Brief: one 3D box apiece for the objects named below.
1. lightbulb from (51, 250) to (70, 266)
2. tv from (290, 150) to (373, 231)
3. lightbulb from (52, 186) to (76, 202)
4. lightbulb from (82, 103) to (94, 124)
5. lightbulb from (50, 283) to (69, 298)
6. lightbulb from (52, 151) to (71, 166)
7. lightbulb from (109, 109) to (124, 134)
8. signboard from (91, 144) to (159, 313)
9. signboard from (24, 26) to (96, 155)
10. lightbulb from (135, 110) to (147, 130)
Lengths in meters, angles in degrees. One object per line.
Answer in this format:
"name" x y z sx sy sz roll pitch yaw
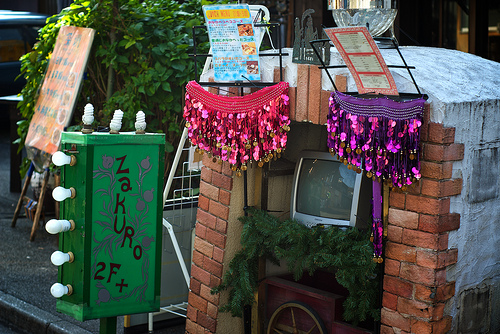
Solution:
"lightbulb" -1.480 0.717 4.914 0.155 0.119 0.111 -7 31 -29
"tv" 0.652 0.198 5.099 0.684 0.584 0.315 3 14 23
"lightbulb" -1.459 0.208 4.927 0.186 0.136 0.119 -11 7 -40
"lightbulb" -1.308 -0.432 5.095 0.081 0.156 0.248 -6 14 -15
"lightbulb" -1.511 0.957 5.015 0.153 0.125 0.111 -4 11 -31
"lightbulb" -1.465 -0.064 4.887 0.138 0.115 0.113 0 36 -7
"lightbulb" -1.091 -0.366 5.153 0.110 0.210 0.455 -5 14 -10
"signboard" -1.159 0.454 5.304 0.656 1.518 0.734 1 2 -30
"signboard" -2.362 -0.969 7.734 0.727 1.461 1.246 -10 15 -31
"lightbulb" -0.892 -0.380 5.133 0.082 0.137 0.197 -5 14 -10
